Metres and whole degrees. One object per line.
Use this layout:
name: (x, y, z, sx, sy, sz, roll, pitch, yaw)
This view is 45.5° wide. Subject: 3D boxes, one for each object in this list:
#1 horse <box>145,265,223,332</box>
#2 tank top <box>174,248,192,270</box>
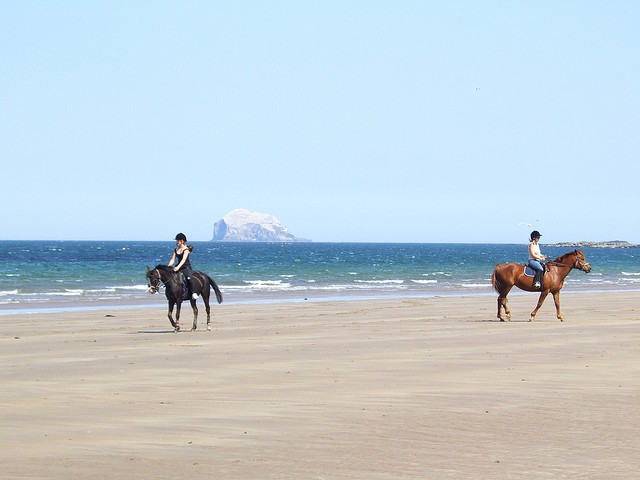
horse: (-3.946, 1.727, 22.563, 0.733, 2.067, 3.082, -9, -10, 33)
tank top: (-4.061, 0.541, 22.411, 0.444, 0.610, 1.007, 0, -1, -11)
